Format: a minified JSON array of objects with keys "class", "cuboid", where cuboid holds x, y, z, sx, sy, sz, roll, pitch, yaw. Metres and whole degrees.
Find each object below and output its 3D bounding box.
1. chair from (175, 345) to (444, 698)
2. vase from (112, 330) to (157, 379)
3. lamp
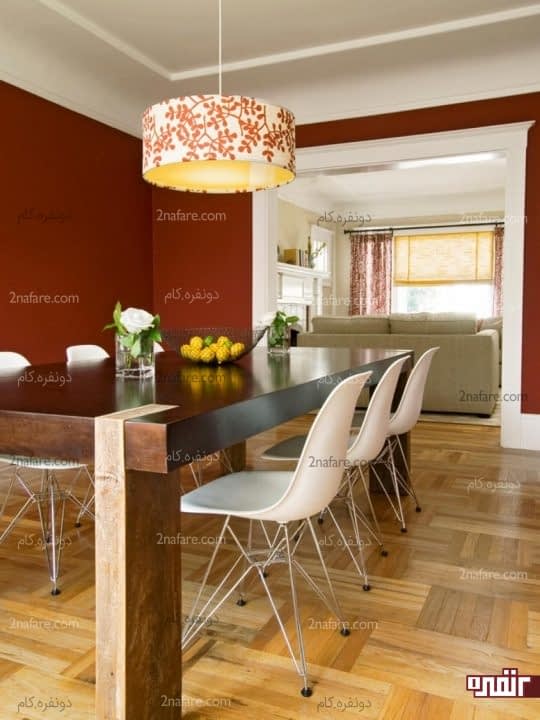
[{"class":"chair","cuboid":[0.135,0.515,1.736,0.363,0.579,0.821,1,1,19]},{"class":"vase","cuboid":[-0.410,-0.015,1.671,0.117,0.138,0.121,0,2,40]},{"class":"lamp","cuboid":[-0.185,-0.970,2.190,0.530,0.647,0.556,0,3,1]}]
